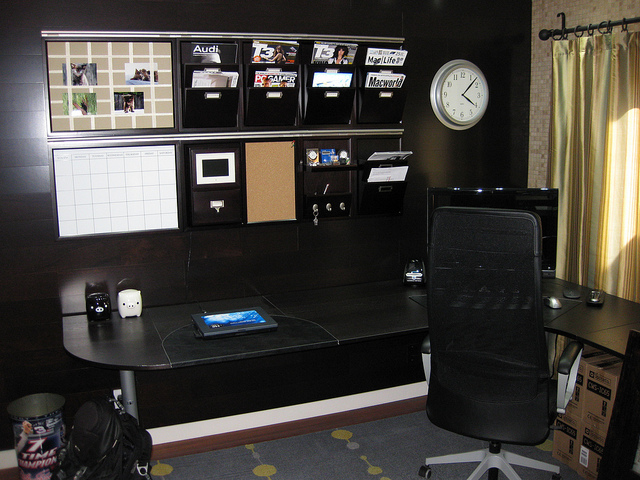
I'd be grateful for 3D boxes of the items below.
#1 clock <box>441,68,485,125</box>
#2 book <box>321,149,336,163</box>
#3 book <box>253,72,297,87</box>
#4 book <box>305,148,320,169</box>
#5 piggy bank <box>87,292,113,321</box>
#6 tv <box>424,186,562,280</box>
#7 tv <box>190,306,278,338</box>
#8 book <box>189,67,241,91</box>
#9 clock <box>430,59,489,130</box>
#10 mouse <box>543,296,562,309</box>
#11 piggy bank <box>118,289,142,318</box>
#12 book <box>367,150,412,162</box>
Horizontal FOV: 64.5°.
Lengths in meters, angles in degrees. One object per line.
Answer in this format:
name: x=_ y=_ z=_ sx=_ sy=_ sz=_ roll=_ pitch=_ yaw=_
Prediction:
clock: x=0.991 y=-1.034 z=3.596 sx=0.375 sy=0.391 sz=0.037 roll=-5 pitch=8 yaw=-27
book: x=0.050 y=-0.552 z=3.315 sx=0.095 sy=0.083 sz=0.063 roll=-3 pitch=11 yaw=-4
book: x=-0.273 y=-0.962 z=3.043 sx=0.252 sy=0.083 sz=0.028 roll=-6 pitch=11 yaw=-19
book: x=-0.048 y=-0.523 z=3.264 sx=0.083 sy=0.123 sz=0.094 roll=-2 pitch=11 yaw=-2
piggy bank: x=-1.232 y=0.371 z=2.837 sx=0.095 sy=0.172 sz=0.163 roll=-1 pitch=-3 yaw=-13
tv: x=1.122 y=-0.046 z=3.366 sx=0.835 sy=0.622 sz=0.065 roll=0 pitch=10 yaw=11
tv: x=-0.486 y=0.440 z=2.834 sx=0.432 sy=0.050 sz=0.345 roll=-6 pitch=12 yaw=-18
book: x=-0.620 y=-0.909 z=2.948 sx=0.223 sy=0.158 sz=0.051 roll=-3 pitch=13 yaw=-19
clock: x=0.962 y=-1.044 z=3.590 sx=0.461 sy=0.485 sz=0.067 roll=-5 pitch=8 yaw=-24
mouse: x=1.371 y=0.366 z=3.028 sx=0.092 sy=0.047 sz=0.127 roll=-5 pitch=12 yaw=-16
piggy bank: x=-1.081 y=0.361 z=2.886 sx=0.116 sy=0.161 sz=0.150 roll=2 pitch=2 yaw=-24
book: x=0.447 y=-0.533 z=3.274 sx=0.276 sy=0.068 sz=0.096 roll=-5 pitch=12 yaw=-17
